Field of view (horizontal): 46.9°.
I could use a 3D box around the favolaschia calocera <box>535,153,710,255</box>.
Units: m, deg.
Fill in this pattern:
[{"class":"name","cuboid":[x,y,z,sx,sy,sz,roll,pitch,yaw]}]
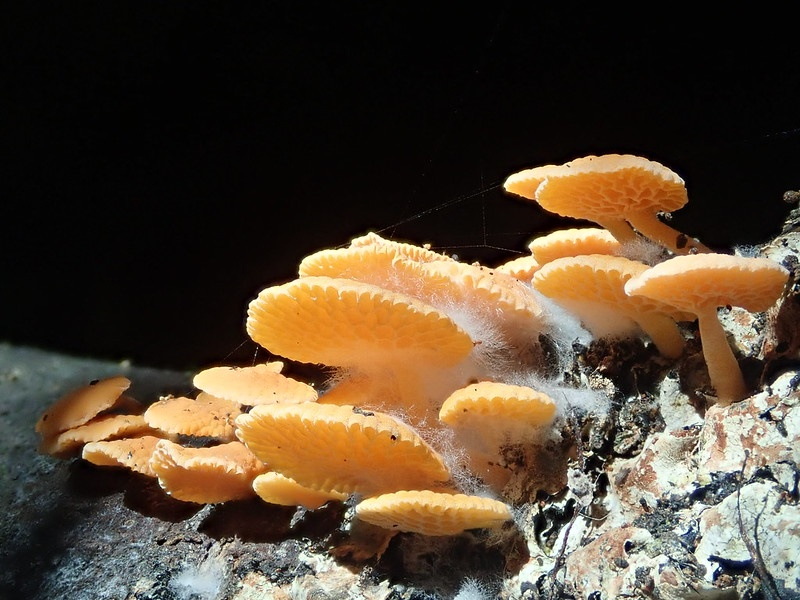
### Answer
[{"class":"favolaschia calocera","cuboid":[0.835,-0.321,3.201,0.590,0.401,0.194,14,73,-28]}]
